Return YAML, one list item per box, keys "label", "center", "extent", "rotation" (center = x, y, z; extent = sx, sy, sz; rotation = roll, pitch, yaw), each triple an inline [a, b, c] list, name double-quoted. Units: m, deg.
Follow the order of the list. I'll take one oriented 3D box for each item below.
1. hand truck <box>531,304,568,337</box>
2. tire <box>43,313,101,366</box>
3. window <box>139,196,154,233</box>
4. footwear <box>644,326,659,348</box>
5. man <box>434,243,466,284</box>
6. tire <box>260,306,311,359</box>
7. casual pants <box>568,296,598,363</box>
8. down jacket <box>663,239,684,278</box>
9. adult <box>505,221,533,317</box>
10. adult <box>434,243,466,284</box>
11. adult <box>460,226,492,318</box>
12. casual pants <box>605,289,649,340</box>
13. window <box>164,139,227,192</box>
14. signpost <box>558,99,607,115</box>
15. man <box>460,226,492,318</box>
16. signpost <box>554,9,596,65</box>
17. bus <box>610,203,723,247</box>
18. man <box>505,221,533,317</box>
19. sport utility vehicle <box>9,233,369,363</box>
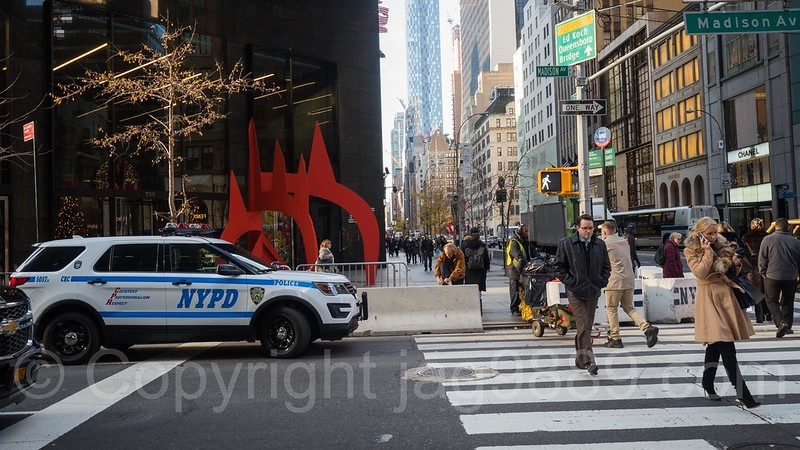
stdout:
- label: "hand truck"
  center: [4.687, 2.925, 22.204]
  extent: [0.821, 0.848, 1.154]
  rotation: [1, -7, -14]
- label: "tire"
  center: [-9.399, 3.325, 20.815]
  extent: [1.423, 1.427, 0.550]
  rotation: [1, -6, 1]
- label: "window"
  center: [-12.003, -0.273, 34.409]
  extent: [0.398, 1.714, 0.062]
  rotation: [0, 27, -18]
- label: "footwear"
  center: [7.233, 3.194, 20.587]
  extent: [0.325, 0.704, 0.484]
  rotation: [-6, 6, -21]
- label: "man"
  center: [1.718, 1.372, 24.939]
  extent: [0.981, 1.437, 0.911]
  rotation: [-1, 1, 15]
- label: "tire"
  center: [-3.319, 3.103, 20.866]
  extent: [1.480, 1.487, 0.533]
  rotation: [2, 1, 8]
- label: "casual pants"
  center: [4.952, 2.866, 19.474]
  extent: [0.677, 1.857, 0.667]
  rotation: [-1, 1, 15]
- label: "down jacket"
  center: [9.191, 1.154, 24.292]
  extent: [0.676, 1.237, 0.582]
  rotation: [-1, 1, 10]
- label: "adult"
  center: [4.043, 1.585, 24.482]
  extent: [0.777, 3.120, 1.612]
  rotation: [-1, 1, 10]
- label: "adult"
  center: [1.737, 1.371, 24.949]
  extent: [0.966, 1.437, 0.950]
  rotation: [-1, 1, 7]
- label: "adult"
  center: [2.641, 1.584, 25.806]
  extent: [1.189, 2.811, 1.106]
  rotation: [-3, 16, -16]
- label: "casual pants"
  center: [6.750, 2.412, 21.330]
  extent: [1.338, 1.965, 0.768]
  rotation: [-6, -5, 27]
- label: "window"
  center: [-10.458, -2.909, 36.217]
  extent: [1.756, 2.685, 2.886]
  rotation: [-1, 2, 38]
- label: "signpost"
  center: [6.700, -4.357, 26.536]
  extent: [1.858, 0.589, 0.744]
  rotation: [-2, 1, -24]
- label: "man"
  center: [2.644, 1.596, 25.798]
  extent: [1.181, 2.827, 1.121]
  rotation: [-3, 16, -15]
- label: "signpost"
  center: [6.260, -6.684, 25.635]
  extent: [1.582, 1.826, 0.525]
  rotation: [0, 2, 44]
- label: "bus"
  center: [21.945, 0.155, 61.592]
  extent: [2.783, 3.081, 12.755]
  rotation: [-1, -2, -13]
- label: "man"
  center: [4.044, 1.584, 24.494]
  extent: [0.783, 3.120, 1.844]
  rotation: [-1, 1, 10]
- label: "sport utility vehicle"
  center: [-6.380, 2.129, 22.145]
  extent: [8.318, 2.996, 4.237]
  rotation: [-2, -5, -3]
